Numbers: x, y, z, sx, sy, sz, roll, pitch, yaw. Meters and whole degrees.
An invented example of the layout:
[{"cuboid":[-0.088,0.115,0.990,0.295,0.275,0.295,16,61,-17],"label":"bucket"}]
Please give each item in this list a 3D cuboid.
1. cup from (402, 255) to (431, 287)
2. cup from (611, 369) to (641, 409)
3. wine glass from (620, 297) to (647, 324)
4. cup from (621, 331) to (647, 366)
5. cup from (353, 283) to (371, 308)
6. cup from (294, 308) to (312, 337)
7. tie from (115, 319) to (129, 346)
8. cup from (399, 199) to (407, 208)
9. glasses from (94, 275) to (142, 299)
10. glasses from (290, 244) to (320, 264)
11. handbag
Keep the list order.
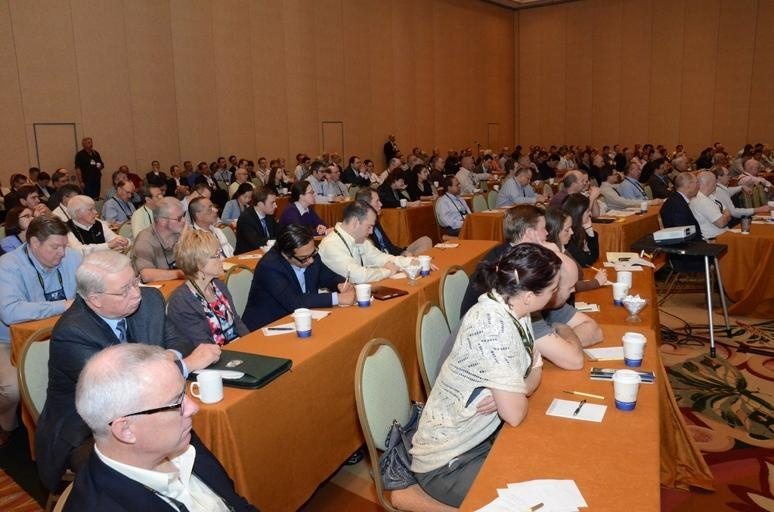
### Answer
[{"cuboid":[0.258,0.107,4.475,0.154,0.137,0.316,0,-4,-30],"label":"cup"},{"cuboid":[1.208,0.683,2.613,0.150,0.167,0.161,2,-4,0],"label":"cup"},{"cuboid":[1.716,0.362,3.569,0.170,0.191,0.172,-1,0,-7],"label":"wine glass"},{"cuboid":[1.410,0.538,2.948,0.129,0.163,0.137,1,3,0],"label":"cup"},{"cuboid":[-0.179,0.293,3.833,0.135,0.149,0.139,1,5,0],"label":"cup"},{"cuboid":[-0.537,0.435,3.388,0.144,0.182,0.153,-3,6,0],"label":"cup"},{"cuboid":[-1.566,0.439,3.036,0.046,0.214,0.063,-20,-29,11],"label":"tie"},{"cuboid":[0.308,-0.930,8.961,0.140,0.165,0.144,0,11,0],"label":"cup"},{"cuboid":[-1.520,0.184,2.913,0.211,0.099,0.074,-13,17,-40],"label":"glasses"},{"cuboid":[-0.646,-0.016,4.016,0.156,0.046,0.157,12,32,33],"label":"glasses"},{"cuboid":[0.052,1.043,2.865,0.146,0.404,0.301,-8,-1,44],"label":"handbag"}]
